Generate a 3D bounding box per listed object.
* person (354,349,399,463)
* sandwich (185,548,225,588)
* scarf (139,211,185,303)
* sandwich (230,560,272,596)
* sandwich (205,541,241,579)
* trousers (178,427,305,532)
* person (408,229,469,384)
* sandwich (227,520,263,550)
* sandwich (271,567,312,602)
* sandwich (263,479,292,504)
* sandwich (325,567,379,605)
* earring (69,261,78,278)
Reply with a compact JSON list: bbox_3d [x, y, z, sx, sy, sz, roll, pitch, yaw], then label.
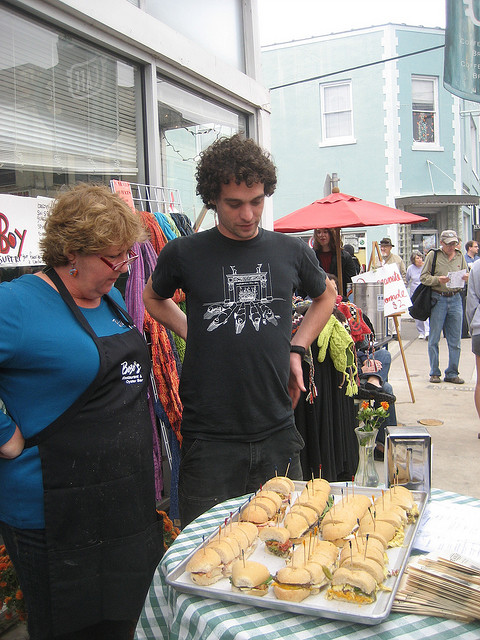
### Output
[{"bbox_3d":[1.089,0.620,4.439,0.422,0.707,0.283,16,37,40],"label":"person"},{"bbox_3d":[-0.082,0.545,1.190,0.079,0.056,0.076,1,4,34],"label":"sandwich"},{"bbox_3d":[-0.462,-0.308,3.125,0.239,0.622,0.279,6,12,35],"label":"scarf"},{"bbox_3d":[0.023,0.537,1.137,0.061,0.035,0.060,1,-10,7],"label":"sandwich"},{"bbox_3d":[-0.040,0.537,1.218,0.070,0.025,0.052,28,-25,-23],"label":"sandwich"},{"bbox_3d":[0.021,0.561,1.968,0.475,0.311,0.152,-4,4,-27],"label":"trousers"},{"bbox_3d":[2.878,-0.198,7.998,1.012,2.219,0.733,2,0,29],"label":"person"},{"bbox_3d":[0.015,0.535,1.354,0.048,0.022,0.067,-5,12,-44],"label":"sandwich"},{"bbox_3d":[0.106,0.542,1.110,0.072,0.052,0.058,0,4,27],"label":"sandwich"},{"bbox_3d":[0.108,0.505,1.614,0.060,0.036,0.061,16,12,27],"label":"sandwich"},{"bbox_3d":[0.222,0.536,1.095,0.106,0.061,0.057,-1,4,12],"label":"sandwich"},{"bbox_3d":[-0.527,-0.162,1.737,0.034,0.066,0.017,14,24,23],"label":"earring"}]
